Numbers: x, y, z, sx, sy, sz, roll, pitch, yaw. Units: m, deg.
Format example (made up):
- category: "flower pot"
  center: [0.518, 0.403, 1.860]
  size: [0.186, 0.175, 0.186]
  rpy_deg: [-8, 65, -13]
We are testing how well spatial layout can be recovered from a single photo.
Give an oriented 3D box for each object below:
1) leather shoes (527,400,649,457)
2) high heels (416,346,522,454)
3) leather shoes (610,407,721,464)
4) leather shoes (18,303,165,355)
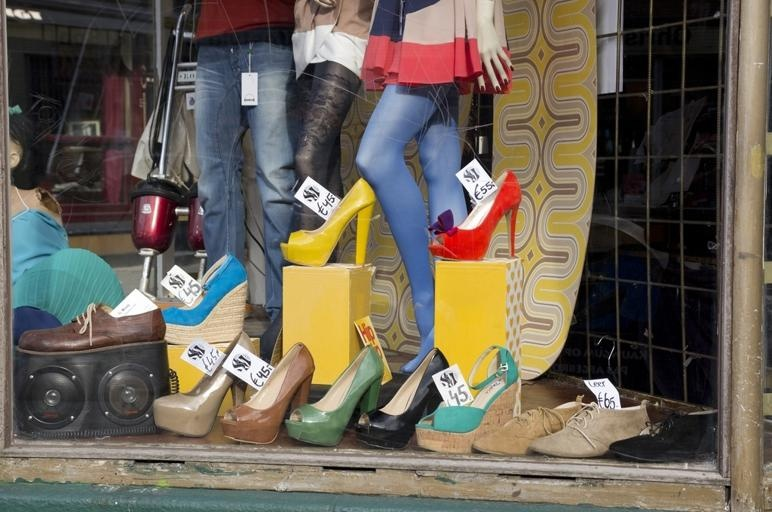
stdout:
- category: "leather shoes"
  center: [0.637, 0.560, 2.686]
  size: [0.384, 0.157, 0.164]
  rpy_deg: [-15, 4, -16]
- category: "high heels"
  center: [0.279, 0.458, 2.736]
  size: [0.366, 0.246, 0.157]
  rpy_deg: [-18, 15, -29]
- category: "leather shoes"
  center: [0.856, 0.563, 2.634]
  size: [0.345, 0.159, 0.144]
  rpy_deg: [-2, -4, -2]
- category: "leather shoes"
  center: [-0.971, 0.262, 2.748]
  size: [0.412, 0.160, 0.178]
  rpy_deg: [2, -6, -11]
